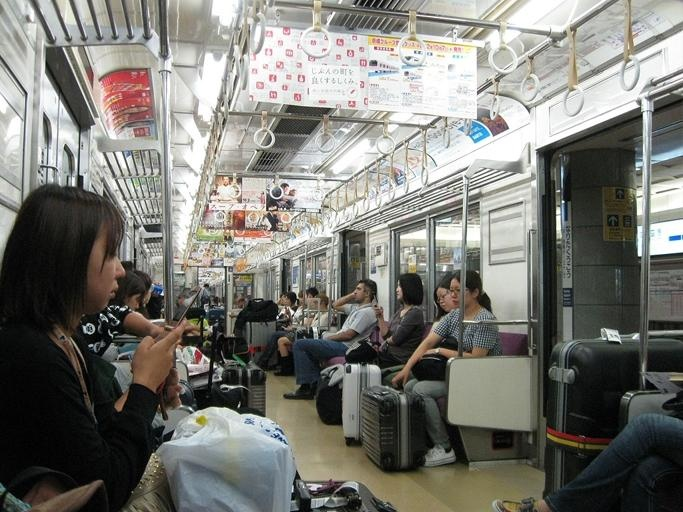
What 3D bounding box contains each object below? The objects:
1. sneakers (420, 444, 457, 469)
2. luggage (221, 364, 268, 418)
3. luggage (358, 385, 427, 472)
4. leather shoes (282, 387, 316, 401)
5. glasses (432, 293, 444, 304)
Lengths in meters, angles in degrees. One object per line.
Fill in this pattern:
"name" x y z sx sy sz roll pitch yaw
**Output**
"sneakers" 0.857 1.769 4.593 0.312 0.149 0.133 4 -14 -18
"luggage" -0.873 1.223 4.687 0.391 0.425 1.064 3 -8 -9
"luggage" 0.476 1.521 4.682 0.451 0.652 0.566 3 -8 -15
"leather shoes" -0.594 1.941 7.395 0.432 0.188 0.168 4 -11 -10
"glasses" 1.054 0.463 5.697 0.111 0.059 0.092 6 5 -10
